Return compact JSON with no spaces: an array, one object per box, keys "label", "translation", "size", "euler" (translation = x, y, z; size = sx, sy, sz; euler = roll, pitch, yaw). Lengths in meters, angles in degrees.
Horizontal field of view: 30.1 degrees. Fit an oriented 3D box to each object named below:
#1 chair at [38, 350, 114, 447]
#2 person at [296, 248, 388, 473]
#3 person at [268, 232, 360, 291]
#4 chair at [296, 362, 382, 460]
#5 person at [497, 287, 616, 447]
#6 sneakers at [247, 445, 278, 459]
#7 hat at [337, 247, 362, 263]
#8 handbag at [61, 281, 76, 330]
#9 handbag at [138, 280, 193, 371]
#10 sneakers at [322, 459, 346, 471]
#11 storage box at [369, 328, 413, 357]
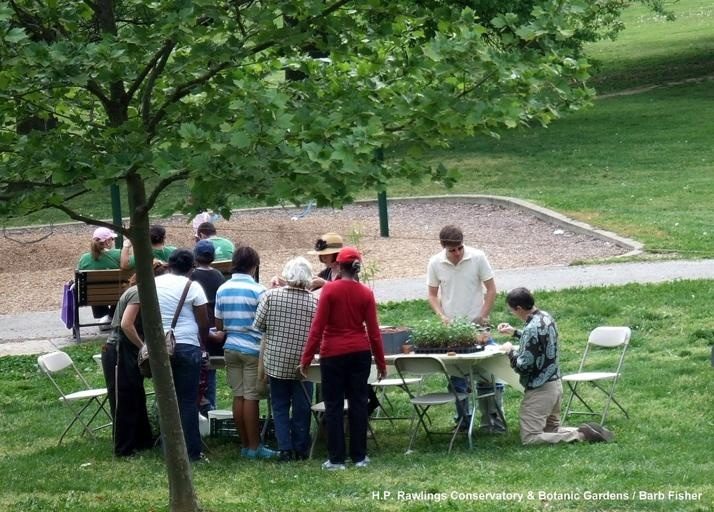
[{"label":"chair","translation":[-3.575,1.804,17.352],"size":[0.975,1.030,0.684],"euler":[2,9,22]},{"label":"person","translation":[-0.146,1.215,15.776],"size":[0.934,2.589,0.293],"euler":[-4,3,-3]},{"label":"person","translation":[-0.581,0.179,17.122],"size":[1.067,0.901,0.531],"euler":[2,-5,-5]},{"label":"chair","translation":[-0.368,1.842,16.865],"size":[1.051,1.499,1.183],"euler":[-2,3,0]},{"label":"person","translation":[2.354,1.319,16.156],"size":[0.966,1.893,0.420],"euler":[-4,3,7]},{"label":"sneakers","translation":[-1.159,2.427,16.413],"size":[0.368,0.135,0.147],"euler":[-1,-3,4]},{"label":"hat","translation":[-0.106,-0.014,15.906],"size":[0.277,0.136,0.356],"euler":[-1,1,-3]},{"label":"handbag","translation":[-4.541,0.798,20.999],"size":[0.278,0.895,0.743],"euler":[0,7,-11]},{"label":"handbag","translation":[-2.293,0.881,15.984],"size":[0.741,1.140,0.578],"euler":[-4,3,-8]},{"label":"sneakers","translation":[-0.288,2.480,15.748],"size":[0.289,0.108,0.111],"euler":[3,-2,20]},{"label":"storage box","translation":[0.438,1.068,16.708],"size":[0.304,0.318,0.511],"euler":[-4,-6,24]}]
